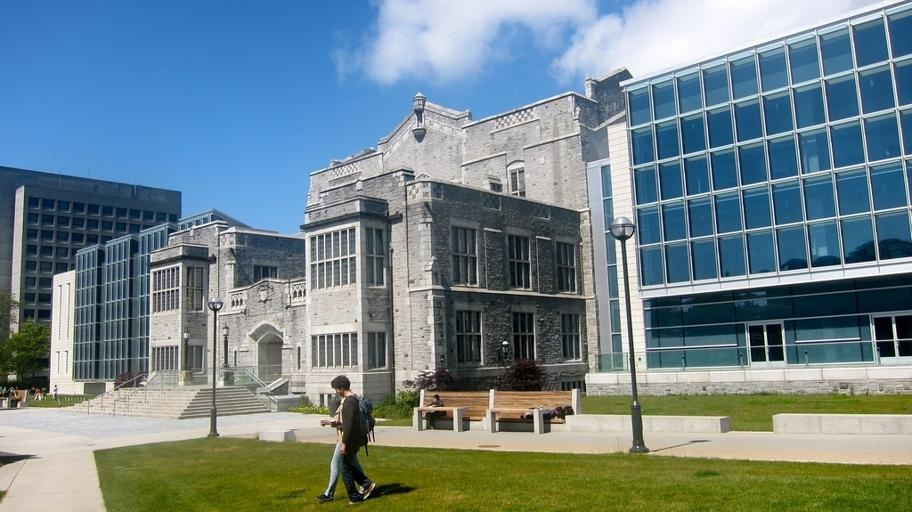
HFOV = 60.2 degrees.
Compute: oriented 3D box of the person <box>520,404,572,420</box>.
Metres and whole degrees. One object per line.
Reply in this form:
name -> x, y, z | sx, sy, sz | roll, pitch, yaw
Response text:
person -> 4.885, 8.285, 41.670 | 2.700, 0.679, 0.710 | -3, -15, 4
